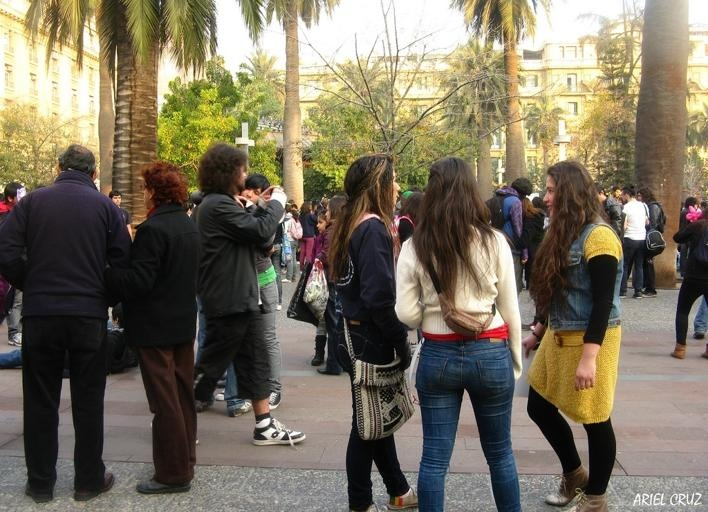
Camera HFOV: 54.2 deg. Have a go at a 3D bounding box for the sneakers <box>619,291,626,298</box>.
[{"bbox_3d":[5.418,0.783,13.963,0.107,0.121,0.292,-3,-10,12],"label":"sneakers"}]

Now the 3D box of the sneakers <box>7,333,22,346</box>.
[{"bbox_3d":[-4.667,1.154,9.515,0.115,0.145,0.333,-1,-8,5],"label":"sneakers"}]

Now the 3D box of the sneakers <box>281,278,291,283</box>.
[{"bbox_3d":[-1.745,0.630,17.645,0.102,0.101,0.240,-3,-9,24],"label":"sneakers"}]

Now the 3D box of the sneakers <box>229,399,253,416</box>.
[{"bbox_3d":[-1.122,1.491,6.828,0.090,0.106,0.254,2,6,22],"label":"sneakers"}]

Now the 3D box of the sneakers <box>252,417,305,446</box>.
[{"bbox_3d":[-0.677,1.534,6.072,0.529,0.250,0.185,1,0,-4],"label":"sneakers"}]

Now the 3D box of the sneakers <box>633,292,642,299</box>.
[{"bbox_3d":[5.617,0.777,13.724,0.092,0.087,0.211,-1,-7,13],"label":"sneakers"}]

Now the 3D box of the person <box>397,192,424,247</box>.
[{"bbox_3d":[0.730,-0.512,9.084,0.577,0.768,0.320,0,-5,7],"label":"person"}]

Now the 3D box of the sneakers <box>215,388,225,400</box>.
[{"bbox_3d":[-1.423,1.449,7.312,0.105,0.110,0.280,2,-14,-5],"label":"sneakers"}]

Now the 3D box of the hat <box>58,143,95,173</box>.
[{"bbox_3d":[-2.090,-0.742,5.290,0.221,0.270,0.271,4,10,-12],"label":"hat"}]

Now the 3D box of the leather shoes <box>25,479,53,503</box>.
[{"bbox_3d":[-2.323,1.709,5.082,0.205,0.141,0.161,-2,7,-15],"label":"leather shoes"}]

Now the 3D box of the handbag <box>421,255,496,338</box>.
[{"bbox_3d":[0.615,0.298,4.291,0.466,0.441,0.193,-6,-24,-21],"label":"handbag"}]

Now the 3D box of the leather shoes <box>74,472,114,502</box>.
[{"bbox_3d":[-1.932,1.712,5.151,0.106,0.140,0.310,8,12,11],"label":"leather shoes"}]

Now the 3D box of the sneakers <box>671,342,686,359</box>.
[{"bbox_3d":[4.060,1.182,8.689,0.105,0.175,0.261,-1,8,-2],"label":"sneakers"}]

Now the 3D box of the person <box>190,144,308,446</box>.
[{"bbox_3d":[-0.970,0.338,5.892,0.819,2.574,0.632,-2,7,-13],"label":"person"}]

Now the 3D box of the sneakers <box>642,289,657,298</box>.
[{"bbox_3d":[5.924,0.757,13.926,0.131,0.147,0.353,0,-9,0],"label":"sneakers"}]

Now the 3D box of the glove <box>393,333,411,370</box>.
[{"bbox_3d":[0.321,0.646,4.544,0.073,0.200,0.152,-4,-9,35],"label":"glove"}]

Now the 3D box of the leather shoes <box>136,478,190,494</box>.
[{"bbox_3d":[-1.447,1.731,5.249,0.339,0.147,0.140,5,-6,0],"label":"leather shoes"}]
